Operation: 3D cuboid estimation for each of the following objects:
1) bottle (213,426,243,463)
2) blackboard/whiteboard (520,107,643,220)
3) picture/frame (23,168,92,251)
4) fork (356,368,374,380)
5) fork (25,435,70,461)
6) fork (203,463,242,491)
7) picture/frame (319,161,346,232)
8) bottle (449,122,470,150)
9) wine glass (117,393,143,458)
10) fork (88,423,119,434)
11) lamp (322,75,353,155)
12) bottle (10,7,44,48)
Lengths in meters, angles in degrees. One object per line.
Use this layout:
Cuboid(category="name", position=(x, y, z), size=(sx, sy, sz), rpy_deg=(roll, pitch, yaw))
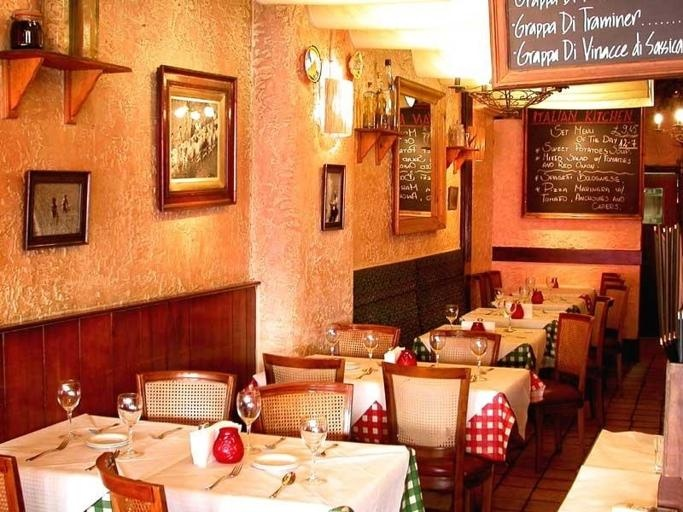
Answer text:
Cuboid(category="bottle", position=(-0.480, 0.802, 2.455), size=(0.131, 0.143, 0.136), rpy_deg=(-2, -3, 37))
Cuboid(category="blackboard/whiteboard", position=(3.981, -1.517, 9.148), size=(1.587, 1.989, 0.137), rpy_deg=(1, 1, 17))
Cuboid(category="picture/frame", position=(-1.520, -0.251, 2.985), size=(0.029, 0.389, 0.416), rpy_deg=(3, 3, 24))
Cuboid(category="fork", position=(0.167, 0.819, 3.951), size=(0.034, 0.040, 0.266), rpy_deg=(-1, 6, 18))
Cuboid(category="fork", position=(-1.298, 0.852, 2.504), size=(0.028, 0.030, 0.185), rpy_deg=(8, 12, 28))
Cuboid(category="fork", position=(-0.471, 0.879, 2.254), size=(0.030, 0.035, 0.224), rpy_deg=(3, 14, 23))
Cuboid(category="picture/frame", position=(-0.090, -0.529, 4.982), size=(0.047, 0.752, 0.598), rpy_deg=(1, 1, 19))
Cuboid(category="bottle", position=(1.614, -1.659, 7.958), size=(0.261, 0.381, 0.368), rpy_deg=(-2, -3, 29))
Cuboid(category="wine glass", position=(-0.975, 0.733, 2.609), size=(0.092, 0.284, 0.393), rpy_deg=(-3, 6, -20))
Cuboid(category="fork", position=(-1.179, 0.849, 2.792), size=(0.041, 0.029, 0.161), rpy_deg=(4, -4, 23))
Cuboid(category="lamp", position=(-0.018, -1.251, 5.000), size=(0.183, 0.572, 0.411), rpy_deg=(1, 6, 22))
Cuboid(category="bottle", position=(-1.514, -1.073, 2.706), size=(0.144, 0.197, 0.157), rpy_deg=(-1, 5, 0))
